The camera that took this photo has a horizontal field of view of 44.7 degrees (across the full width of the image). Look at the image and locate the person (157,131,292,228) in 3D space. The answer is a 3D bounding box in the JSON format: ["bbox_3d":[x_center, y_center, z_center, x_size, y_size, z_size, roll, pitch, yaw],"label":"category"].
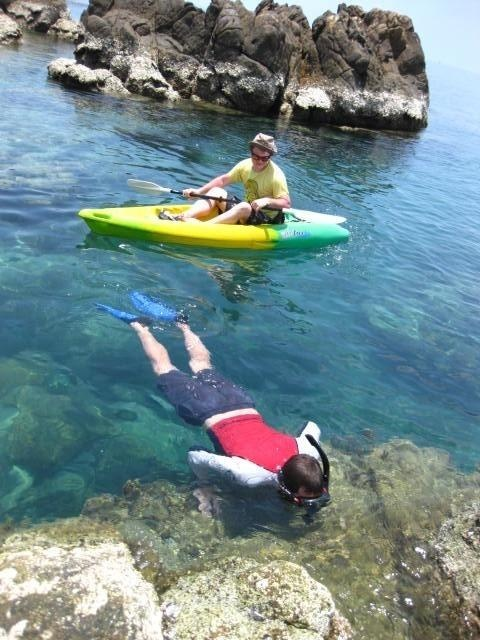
[{"bbox_3d":[-0.015,-1.640,6.808,1.554,1.017,0.986,-12,52,-30],"label":"person"}]

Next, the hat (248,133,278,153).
[{"bbox_3d":[0.250,-1.881,6.335,0.323,0.155,0.417,20,4,-1],"label":"hat"}]

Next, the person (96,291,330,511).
[{"bbox_3d":[-0.198,0.558,3.990,0.784,0.521,1.760,-9,40,-44],"label":"person"}]
